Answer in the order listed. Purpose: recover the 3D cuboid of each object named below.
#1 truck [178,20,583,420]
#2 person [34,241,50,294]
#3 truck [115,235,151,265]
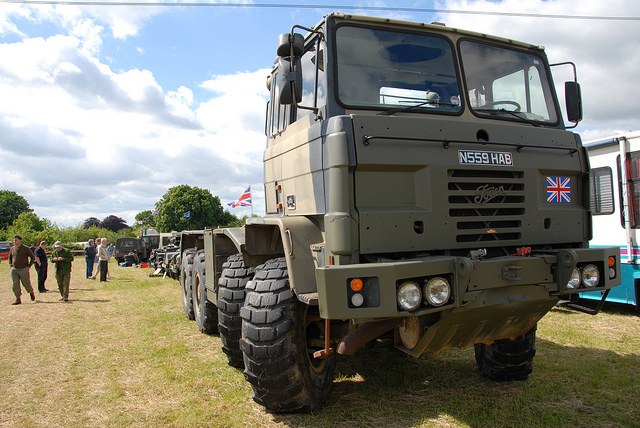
[{"bbox_3d":[0.439,-0.004,8.121,3.344,3.736,6.260,3,-11,-21],"label":"truck"},{"bbox_3d":[-9.759,1.854,15.640,0.350,1.846,0.695,-5,7,-32],"label":"person"},{"bbox_3d":[-11.240,2.297,27.217,1.795,1.689,2.708,0,-4,2],"label":"truck"}]
